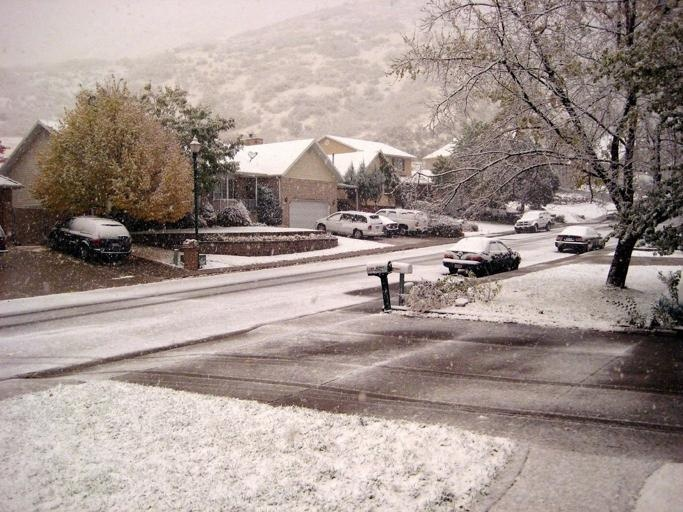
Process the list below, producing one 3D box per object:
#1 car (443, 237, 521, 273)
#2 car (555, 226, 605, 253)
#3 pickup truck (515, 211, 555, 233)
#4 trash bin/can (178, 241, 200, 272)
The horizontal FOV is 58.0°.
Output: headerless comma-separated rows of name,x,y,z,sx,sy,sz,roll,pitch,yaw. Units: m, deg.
car,5.545,-0.067,23.770,1.266,1.060,2.782,3,9,38
car,12.678,-0.915,32.695,2.546,1.260,1.562,-6,9,-34
pickup truck,14.952,-2.693,47.996,3.632,1.522,1.425,-8,10,-44
trash bin/can,-6.602,-0.082,27.066,0.696,1.289,0.839,-2,7,-12
